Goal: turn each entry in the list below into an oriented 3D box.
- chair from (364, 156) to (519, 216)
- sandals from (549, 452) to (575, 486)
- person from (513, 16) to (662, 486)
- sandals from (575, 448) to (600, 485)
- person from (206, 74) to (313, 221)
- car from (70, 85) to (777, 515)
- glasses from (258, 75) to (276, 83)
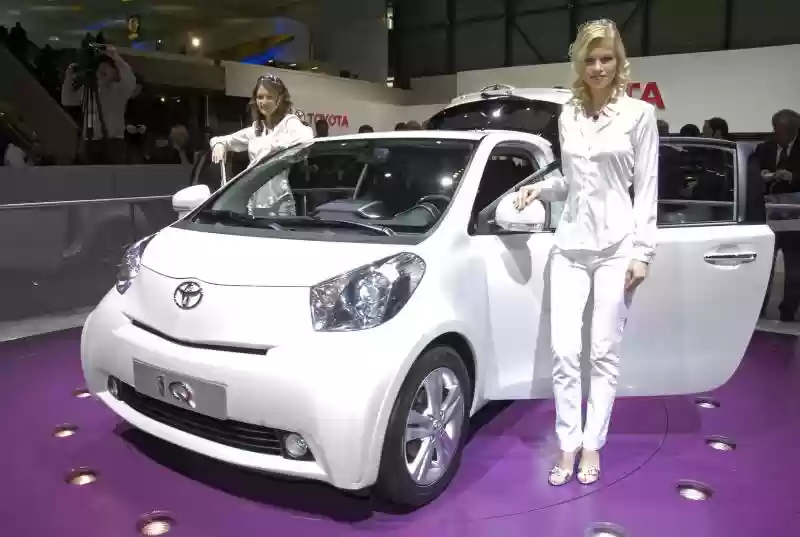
[{"bbox_3d":[0.327,-0.487,3.763,0.532,0.494,0.914,7,3,36],"label":"chair"},{"bbox_3d":[0.861,1.042,2.941,0.076,0.102,0.232,0,-2,34],"label":"sandals"},{"bbox_3d":[0.953,-0.056,2.910,0.709,2.287,0.572,-12,19,-29],"label":"person"},{"bbox_3d":[1.003,1.000,2.967,0.093,0.112,0.278,-5,25,29],"label":"sandals"},{"bbox_3d":[-1.028,-0.587,4.192,0.699,1.696,0.459,-6,-6,12],"label":"person"},{"bbox_3d":[0.105,0.190,3.240,2.683,1.296,2.624,4,4,39],"label":"car"},{"bbox_3d":[-0.986,-1.436,4.254,0.072,0.037,0.106,5,4,11],"label":"glasses"}]
